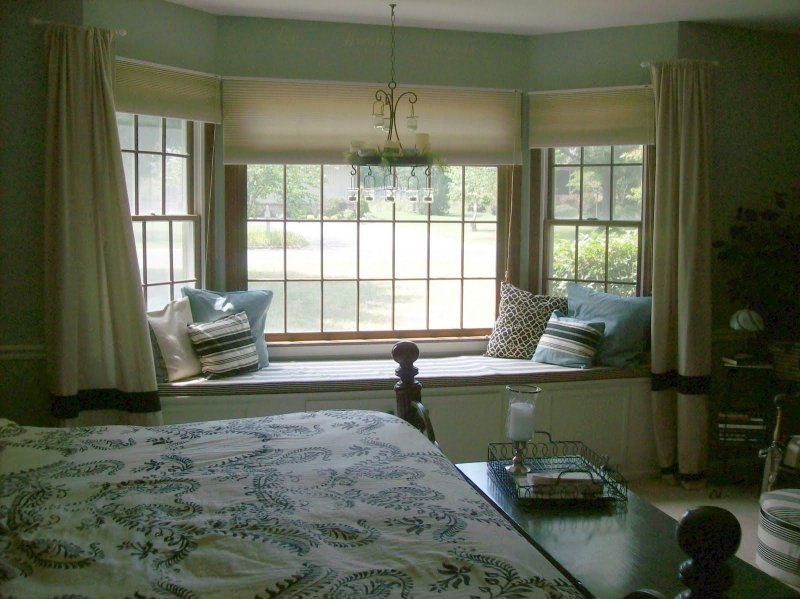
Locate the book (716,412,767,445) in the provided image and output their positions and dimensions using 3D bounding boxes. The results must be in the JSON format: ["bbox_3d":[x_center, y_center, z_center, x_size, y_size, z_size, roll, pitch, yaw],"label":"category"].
[{"bbox_3d":[2.250,0.854,4.335,0.343,0.200,0.079,2,-2,12],"label":"book"}]

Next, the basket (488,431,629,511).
[{"bbox_3d":[0.642,0.702,2.751,0.465,0.138,0.545,-2,5,-8],"label":"basket"}]

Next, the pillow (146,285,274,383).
[{"bbox_3d":[-1.308,0.228,4.202,0.699,0.573,0.203,1,-9,-40],"label":"pillow"}]

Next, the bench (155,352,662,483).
[{"bbox_3d":[0.037,0.829,4.551,3.238,0.604,0.501,-3,-3,6],"label":"bench"}]

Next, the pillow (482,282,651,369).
[{"bbox_3d":[1.159,0.145,4.611,0.767,0.642,0.207,4,-34,22],"label":"pillow"}]
